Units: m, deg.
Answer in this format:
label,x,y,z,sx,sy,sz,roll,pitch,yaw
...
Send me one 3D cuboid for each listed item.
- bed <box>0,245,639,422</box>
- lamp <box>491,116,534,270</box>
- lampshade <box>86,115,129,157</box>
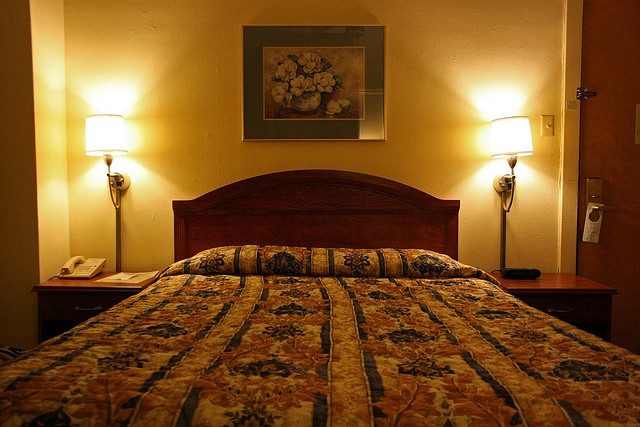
label,x,y,z,sx,sy,sz,roll,pitch,yaw
bed,-0.033,0.527,2.518,2.839,0.613,1.657,0,-1,-9
lamp,1.436,-0.077,3.578,0.289,1.221,0.436,1,4,11
lampshade,-1.538,-0.576,3.424,0.271,0.264,0.099,0,-1,-24
